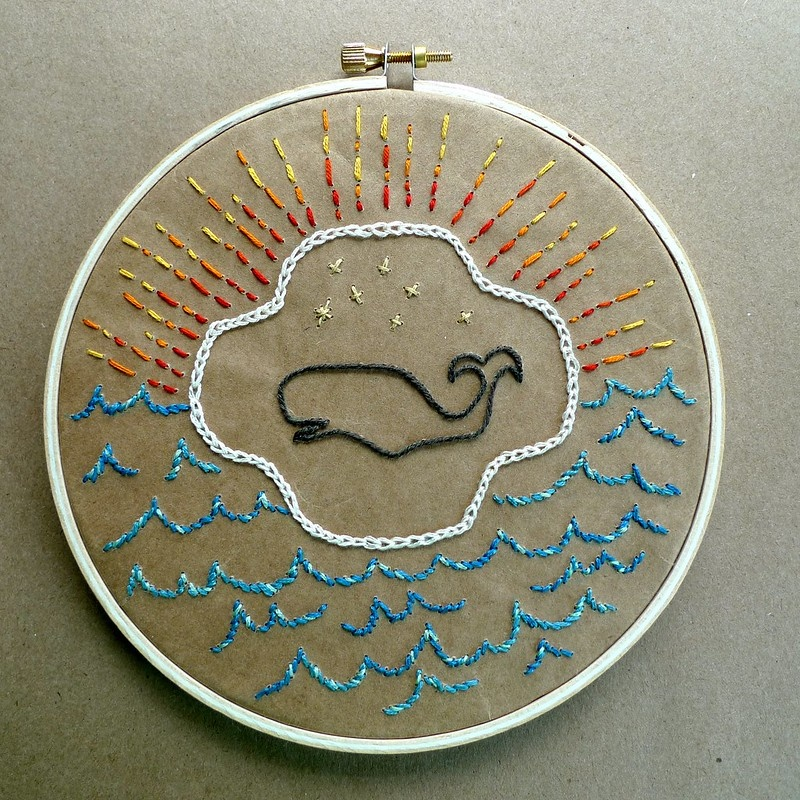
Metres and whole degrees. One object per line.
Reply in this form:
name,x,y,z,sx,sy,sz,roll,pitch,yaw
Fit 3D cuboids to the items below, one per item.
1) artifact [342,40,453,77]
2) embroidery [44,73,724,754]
artifact,0.004,-0.602,2.353,0.215,0.078,0.081,1,95,3
embroidery,-0.025,0.015,2.273,1.184,0.064,1.182,12,83,-1
